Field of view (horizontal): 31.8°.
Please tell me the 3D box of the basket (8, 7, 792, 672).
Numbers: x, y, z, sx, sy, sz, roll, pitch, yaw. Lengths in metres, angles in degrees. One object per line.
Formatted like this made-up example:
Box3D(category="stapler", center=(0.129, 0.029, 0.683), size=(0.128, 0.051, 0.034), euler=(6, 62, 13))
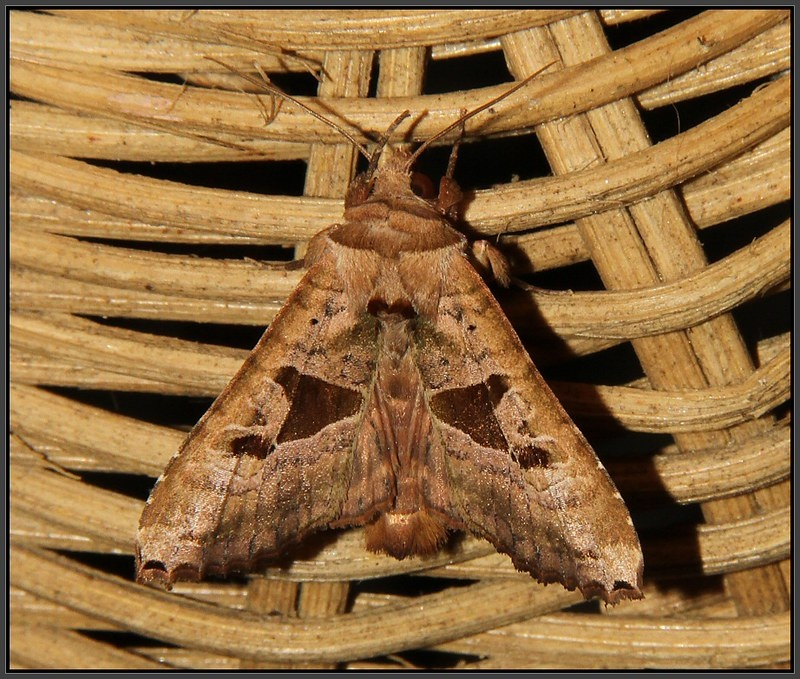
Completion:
Box3D(category="basket", center=(-0.019, -0.094, 3.578), size=(2.060, 1.219, 1.637), euler=(-6, -61, 6))
